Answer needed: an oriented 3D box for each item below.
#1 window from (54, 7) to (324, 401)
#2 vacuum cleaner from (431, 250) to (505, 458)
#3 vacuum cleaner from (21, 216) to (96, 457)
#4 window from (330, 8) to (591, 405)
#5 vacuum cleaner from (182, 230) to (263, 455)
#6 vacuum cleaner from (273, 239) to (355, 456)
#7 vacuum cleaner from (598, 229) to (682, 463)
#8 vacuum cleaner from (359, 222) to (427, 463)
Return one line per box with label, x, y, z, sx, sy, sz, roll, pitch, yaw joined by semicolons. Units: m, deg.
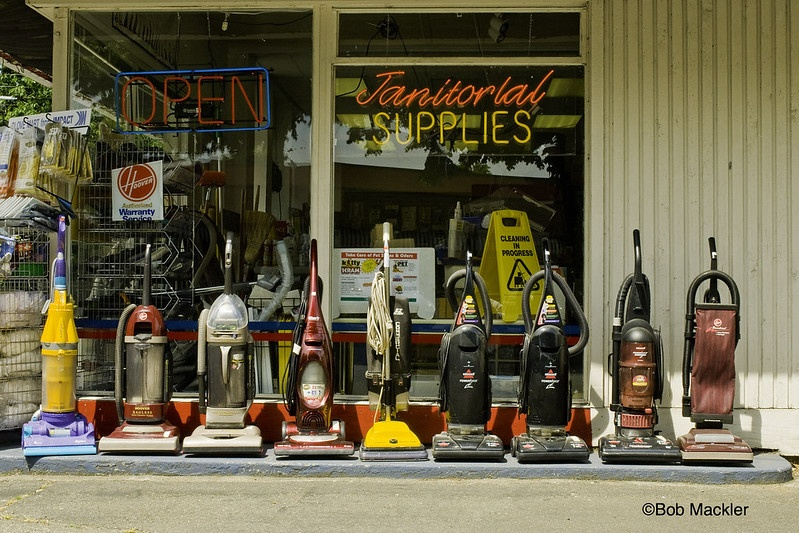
window;-2.020;-0.280;10.438;3.128;4.403;3.163;0;-6;13
vacuum cleaner;0.615;0.837;8.563;0.652;1.883;0.413;-1;-6;4
vacuum cleaner;-3.146;0.624;8.741;0.642;2.235;0.319;2;-7;-21
window;0.535;-0.769;9.315;2.762;4.349;0.063;1;17;4
vacuum cleaner;-1.625;0.716;8.735;0.720;2.069;0.336;1;-6;-10
vacuum cleaner;-0.791;0.757;8.684;0.708;2.004;0.303;0;-6;-5
vacuum cleaner;2.182;0.736;8.602;0.707;2.120;0.439;-2;-6;15
vacuum cleaner;-0.075;0.686;8.709;0.570;2.186;0.376;0;-6;-4
